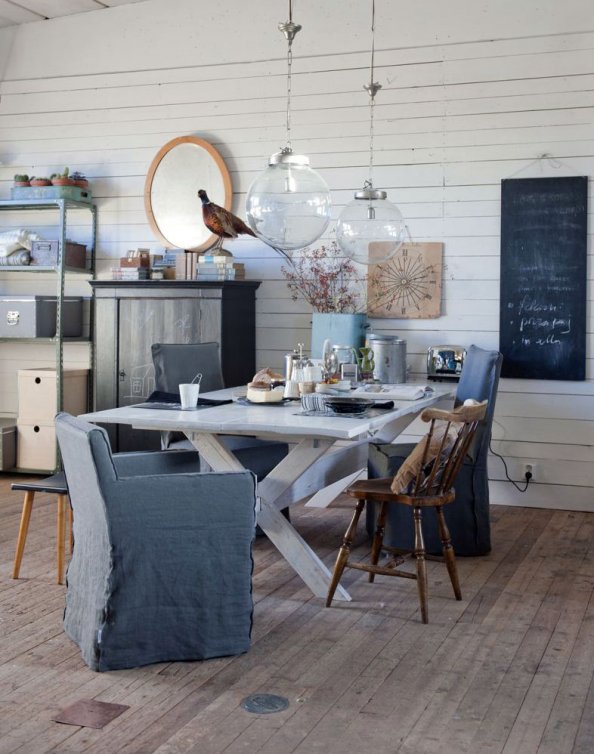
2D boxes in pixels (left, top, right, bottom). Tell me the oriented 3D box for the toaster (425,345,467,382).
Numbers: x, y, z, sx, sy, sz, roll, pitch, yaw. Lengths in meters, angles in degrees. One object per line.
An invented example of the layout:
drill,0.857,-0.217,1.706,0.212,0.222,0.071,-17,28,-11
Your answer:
toaster,0.949,-0.088,4.288,0.241,0.195,0.234,1,3,-45

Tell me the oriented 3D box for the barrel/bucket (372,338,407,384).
barrel/bucket,0.518,-0.091,3.831,0.264,0.254,0.249,0,3,0

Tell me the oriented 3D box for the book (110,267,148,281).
book,-1.225,-0.758,4.855,0.173,0.037,0.167,1,2,23

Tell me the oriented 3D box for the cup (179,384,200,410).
cup,-0.452,0.088,2.848,0.104,0.105,0.106,2,4,0

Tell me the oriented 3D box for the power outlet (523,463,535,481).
power outlet,1.487,0.616,4.232,0.096,0.083,0.022,-1,7,8

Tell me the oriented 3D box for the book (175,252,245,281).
book,-0.638,-0.792,4.699,0.495,0.208,0.212,1,0,24

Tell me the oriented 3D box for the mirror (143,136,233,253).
mirror,-0.785,-1.364,4.908,1.015,1.087,0.053,3,10,25
